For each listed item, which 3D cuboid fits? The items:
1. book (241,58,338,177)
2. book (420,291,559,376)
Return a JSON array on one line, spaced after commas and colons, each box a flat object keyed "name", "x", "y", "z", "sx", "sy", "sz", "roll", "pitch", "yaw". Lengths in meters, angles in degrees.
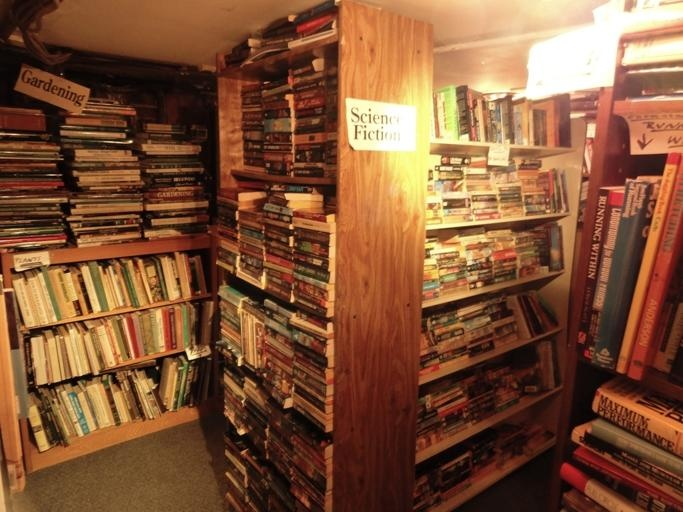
[{"name": "book", "x": -0.239, "y": -0.682, "z": 2.438, "sx": 0.217, "sy": 0.621, "sz": 0.672, "roll": -5, "pitch": 10, "yaw": -42}, {"name": "book", "x": 0.782, "y": 0.509, "z": 3.070, "sx": 0.970, "sy": 0.372, "sz": 0.220, "roll": -21, "pitch": -5, "yaw": -36}]
